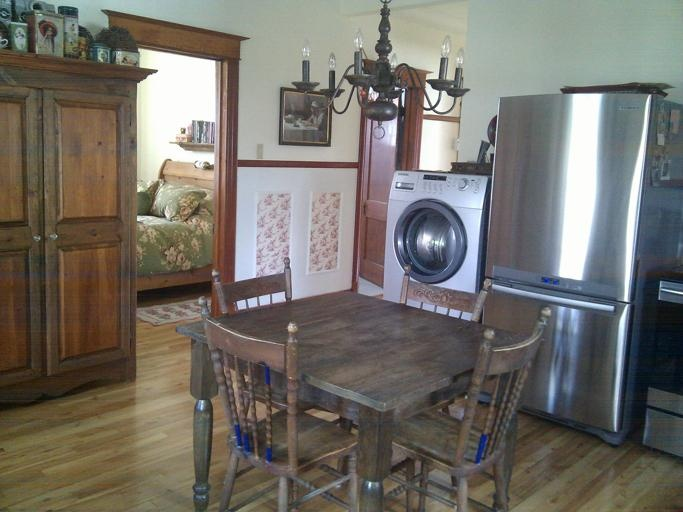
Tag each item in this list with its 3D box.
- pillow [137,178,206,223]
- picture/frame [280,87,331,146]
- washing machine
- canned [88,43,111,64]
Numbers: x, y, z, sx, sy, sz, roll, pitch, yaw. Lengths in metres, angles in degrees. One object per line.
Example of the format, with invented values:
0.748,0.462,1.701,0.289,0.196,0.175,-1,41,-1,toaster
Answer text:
-1.809,-0.621,6.141,0.703,0.201,0.492,8,52,42,pillow
-0.327,-1.238,5.013,0.625,0.496,0.027,-10,18,-44,picture/frame
0.764,-0.084,4.117,0.770,1.005,0.586,10,14,33,washing machine
-1.481,-1.228,3.364,0.097,0.128,0.141,17,22,36,canned
